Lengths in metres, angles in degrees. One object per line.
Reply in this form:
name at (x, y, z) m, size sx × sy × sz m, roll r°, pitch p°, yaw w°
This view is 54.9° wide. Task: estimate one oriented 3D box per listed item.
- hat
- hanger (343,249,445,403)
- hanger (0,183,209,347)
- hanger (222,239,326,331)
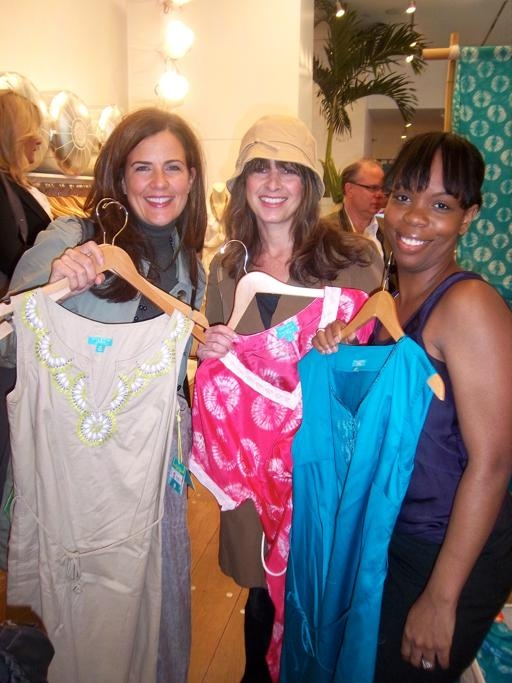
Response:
hat at (0.055, -0.453, 1.189) m, size 0.155 × 0.128 × 0.191 m, roll 3°, pitch -7°, yaw -3°
hanger at (0.242, -0.020, 0.865) m, size 0.007 × 0.181 × 0.276 m, roll 7°, pitch 18°, yaw -25°
hanger at (-0.283, -0.098, 0.954) m, size 0.380 × 0.211 × 0.179 m, roll -4°, pitch 18°, yaw -18°
hanger at (0.045, -0.126, 1.117) m, size 0.204 × 0.145 × 0.004 m, roll -13°, pitch 16°, yaw 16°
